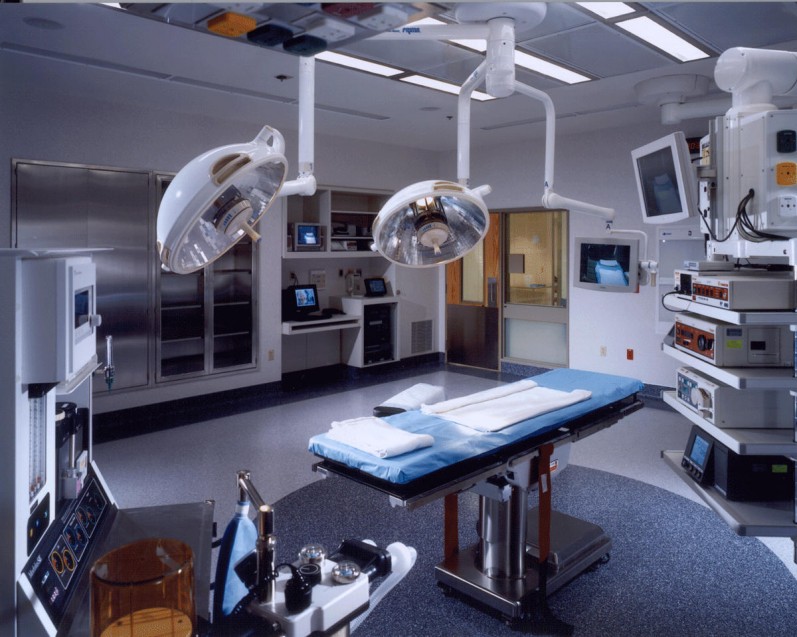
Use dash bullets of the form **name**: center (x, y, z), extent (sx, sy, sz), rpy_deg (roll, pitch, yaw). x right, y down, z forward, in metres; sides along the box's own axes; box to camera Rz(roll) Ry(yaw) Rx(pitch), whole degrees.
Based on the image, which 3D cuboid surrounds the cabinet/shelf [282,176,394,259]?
- **cabinet/shelf**: center (-0.851, -1.244, 8.090), extent (1.383, 0.882, 0.437), rpy_deg (-3, 8, -26)

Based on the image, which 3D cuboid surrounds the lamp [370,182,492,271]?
- **lamp**: center (0.116, -0.332, 2.166), extent (0.332, 0.357, 0.231), rpy_deg (-13, 47, -9)

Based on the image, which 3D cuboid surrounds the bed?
- **bed**: center (0.584, 1.092, 3.442), extent (0.983, 1.225, 2.332), rpy_deg (7, 9, 44)

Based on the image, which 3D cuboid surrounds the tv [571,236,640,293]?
- **tv**: center (1.468, -0.381, 4.293), extent (0.064, 0.487, 0.593), rpy_deg (-2, 3, -34)

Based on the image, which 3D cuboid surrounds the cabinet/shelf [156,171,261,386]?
- **cabinet/shelf**: center (-2.140, -0.368, 6.711), extent (1.125, 2.005, 0.445), rpy_deg (-2, -2, -26)
